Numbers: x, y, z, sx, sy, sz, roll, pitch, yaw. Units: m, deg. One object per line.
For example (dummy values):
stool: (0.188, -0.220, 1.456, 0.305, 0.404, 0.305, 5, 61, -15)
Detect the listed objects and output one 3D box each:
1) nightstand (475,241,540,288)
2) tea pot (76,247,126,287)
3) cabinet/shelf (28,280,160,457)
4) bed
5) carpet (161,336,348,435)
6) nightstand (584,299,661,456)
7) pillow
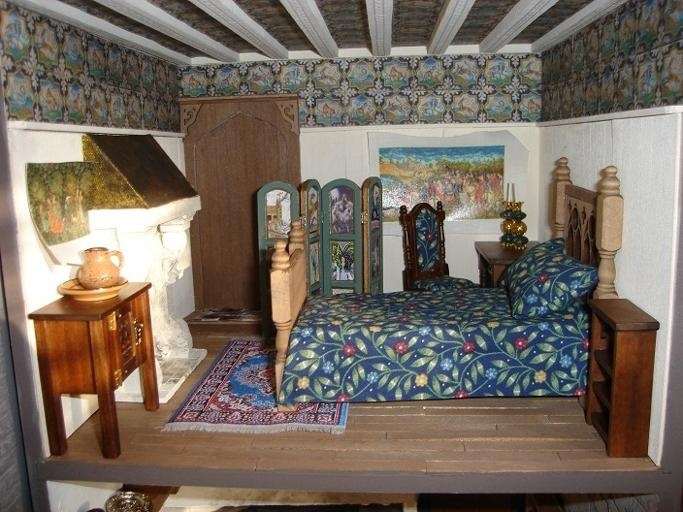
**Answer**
nightstand: (1.687, 0.034, 5.497, 0.521, 0.515, 0.909, -1, 16, 4)
tea pot: (-1.713, 0.076, 3.788, 0.324, 0.272, 0.286, -1, 17, -21)
cabinet/shelf: (-1.739, 0.786, 3.676, 0.695, 1.172, 0.950, 0, 20, -1)
bed: (0.791, 0.240, 4.359, 2.551, 1.440, 1.344, -4, 15, 3)
carpet: (-0.606, 1.061, 4.654, 1.432, 0.026, 1.838, -1, 14, -3)
nightstand: (1.862, 0.807, 3.567, 0.295, 0.946, 0.494, -1, 11, 4)
pillow: (1.744, 0.170, 4.379, 0.631, 0.389, 1.135, 1, 16, 9)
